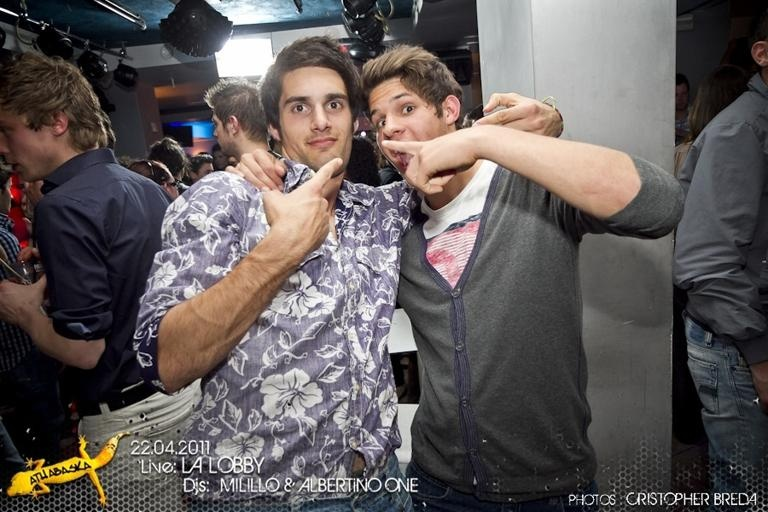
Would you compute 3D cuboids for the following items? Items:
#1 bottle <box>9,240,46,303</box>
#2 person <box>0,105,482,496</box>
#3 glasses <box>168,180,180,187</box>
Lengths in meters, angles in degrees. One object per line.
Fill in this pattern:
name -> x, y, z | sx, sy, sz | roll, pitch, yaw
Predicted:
bottle -> -1.643, 0.071, 2.636 | 0.168, 0.271, 0.143 | -18, -14, 41
person -> -0.271, 0.157, 2.100 | 0.640, 1.379, 1.131 | 13, 26, 42
glasses -> -1.740, -0.600, 4.648 | 0.112, 0.032, 0.101 | -6, 0, -16
